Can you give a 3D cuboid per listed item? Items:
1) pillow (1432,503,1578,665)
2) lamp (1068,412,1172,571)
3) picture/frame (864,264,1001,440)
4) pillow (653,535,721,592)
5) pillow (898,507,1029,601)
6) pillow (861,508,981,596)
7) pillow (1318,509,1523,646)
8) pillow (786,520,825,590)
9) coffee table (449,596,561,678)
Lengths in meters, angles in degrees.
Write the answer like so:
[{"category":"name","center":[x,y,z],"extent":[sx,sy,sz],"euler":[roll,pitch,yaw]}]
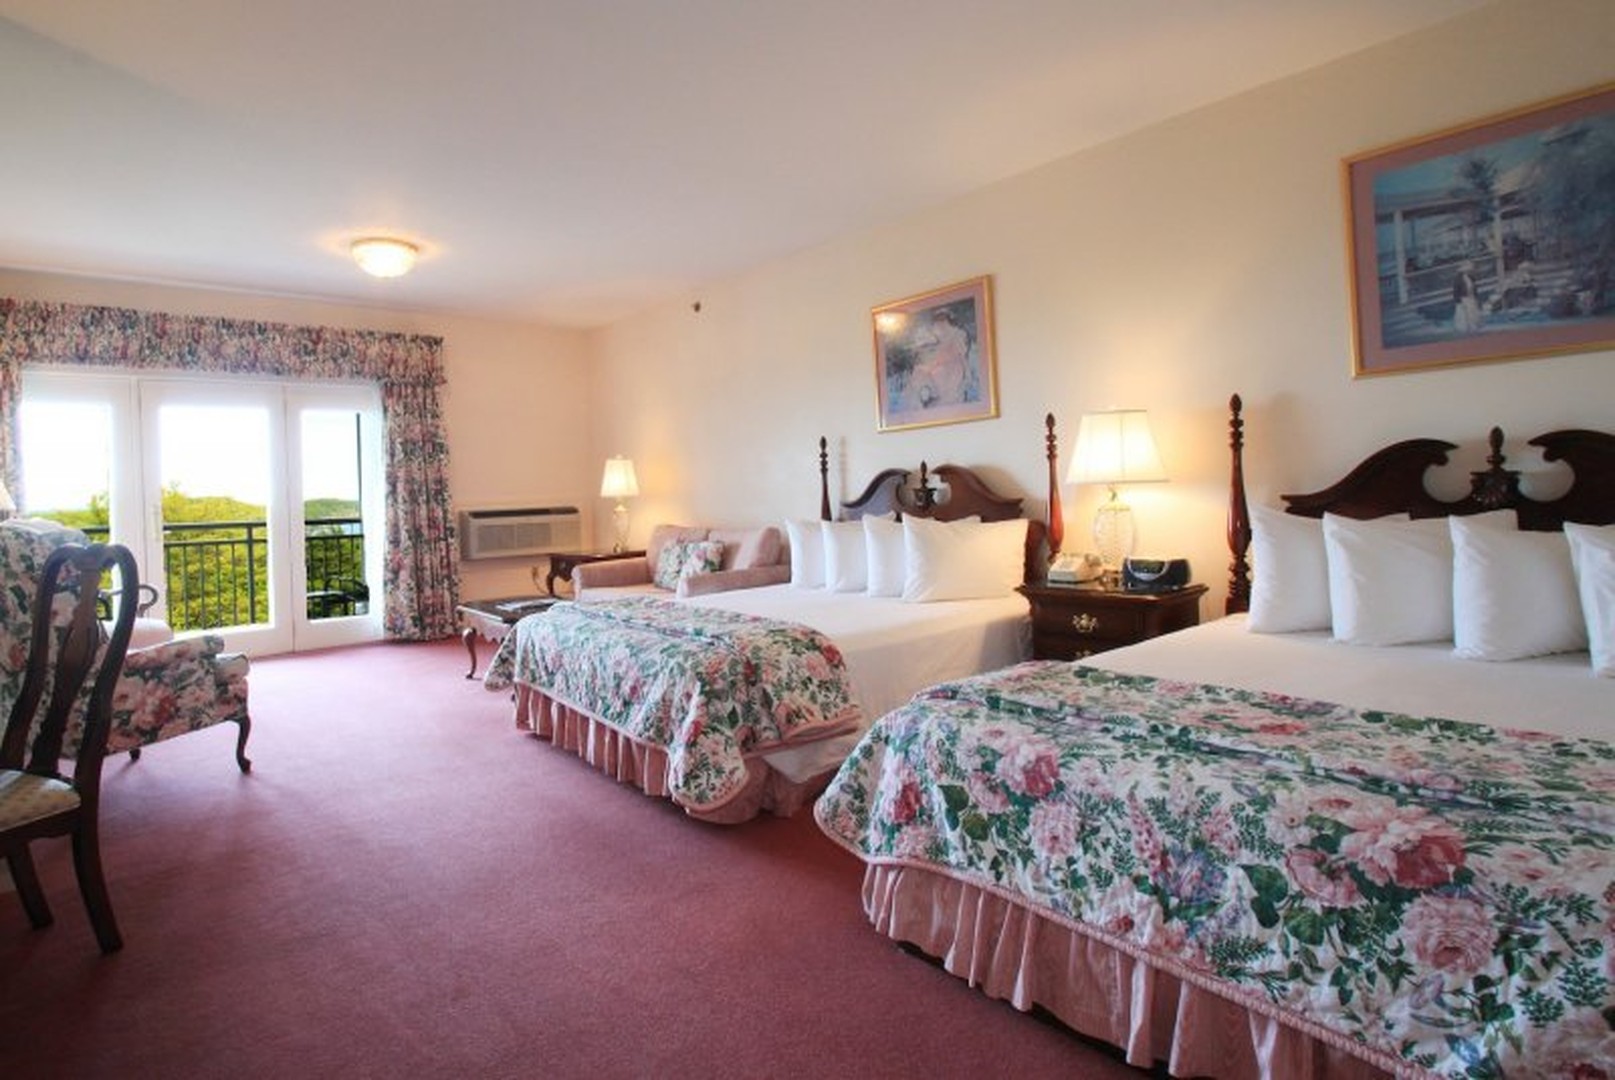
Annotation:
[{"category":"pillow","center":[2.516,0.186,3.735],"extent":[0.521,0.446,0.182],"euler":[-5,8,-8]},{"category":"lamp","center":[1.488,-0.173,5.029],"extent":[0.411,0.795,0.421],"euler":[9,-13,-25]},{"category":"picture/frame","center":[0.739,-1.089,5.896],"extent":[0.103,0.960,1.061],"euler":[-2,0,-42]},{"category":"pillow","center":[-0.794,0.165,6.910],"extent":[0.108,0.206,0.341],"euler":[28,-25,-35]},{"category":"pillow","center":[0.814,0.100,5.345],"extent":[0.662,0.440,0.184],"euler":[-2,4,1]},{"category":"pillow","center":[0.436,0.079,5.468],"extent":[0.416,0.429,0.124],"euler":[0,-4,29]},{"category":"pillow","center":[2.328,0.150,3.971],"extent":[0.235,0.516,0.595],"euler":[-4,-1,-27]},{"category":"pillow","center":[-0.008,0.087,6.020],"extent":[0.167,0.443,0.387],"euler":[-3,1,-44]},{"category":"coffee table","center":[-1.857,0.476,6.293],"extent":[0.540,0.381,0.713],"euler":[2,6,44]}]
